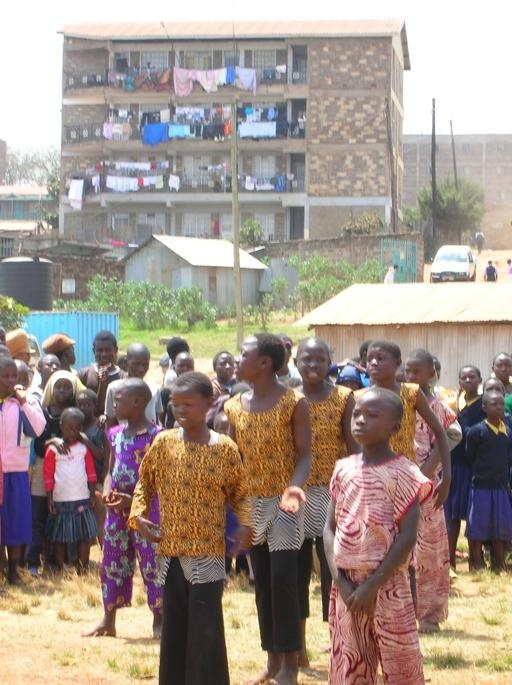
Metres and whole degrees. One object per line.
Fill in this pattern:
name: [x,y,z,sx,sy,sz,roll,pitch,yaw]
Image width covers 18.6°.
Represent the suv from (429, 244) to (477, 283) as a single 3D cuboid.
suv: [5.051,-2.062,40.017,0.928,1.237,2.852,-1,10,9]
